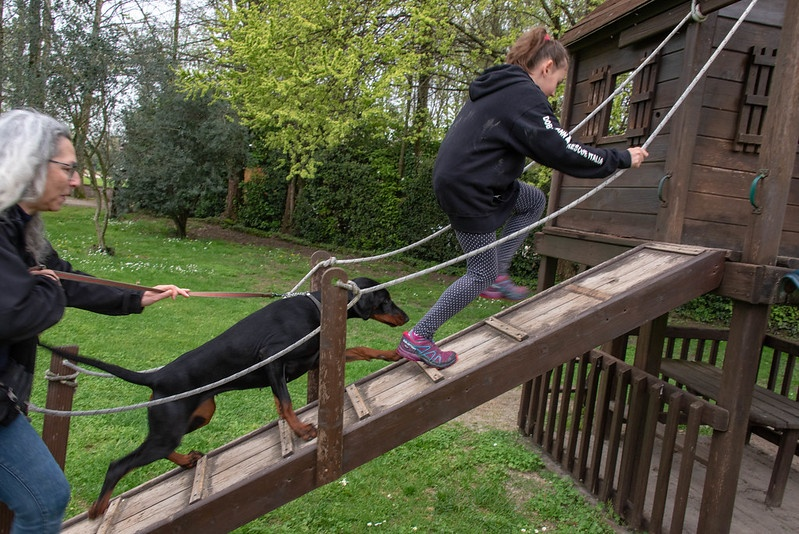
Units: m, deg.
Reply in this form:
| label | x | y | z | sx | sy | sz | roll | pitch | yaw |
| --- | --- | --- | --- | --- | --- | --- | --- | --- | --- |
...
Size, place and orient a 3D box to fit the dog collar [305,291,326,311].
| label | x | y | z | sx | sy | sz | roll | pitch | yaw |
| --- | --- | --- | --- | --- | --- | --- | --- | --- | --- |
| dog collar | -0.707 | 0.259 | 4.530 | 0.048 | 0.182 | 0.140 | -35 | 22 | -15 |

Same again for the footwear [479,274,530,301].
| label | x | y | z | sx | sy | sz | roll | pitch | yaw |
| --- | --- | --- | --- | --- | --- | --- | --- | --- | --- |
| footwear | 0.926 | 0.175 | 4.947 | 0.540 | 0.241 | 0.192 | -2 | 7 | 1 |
